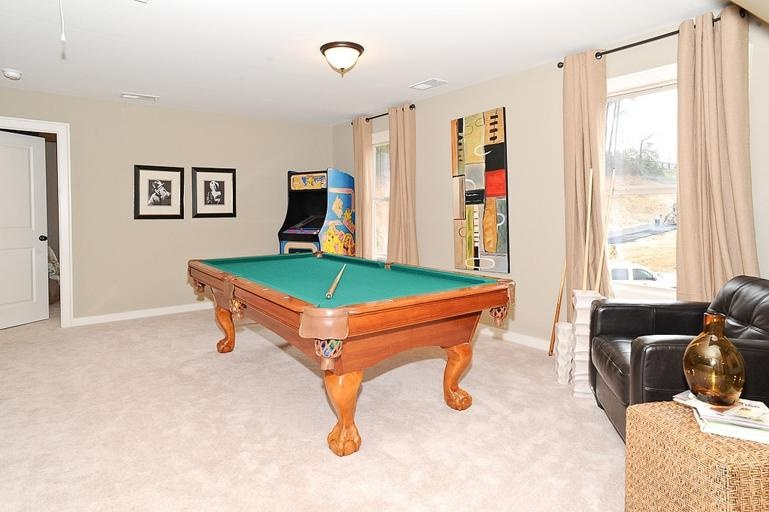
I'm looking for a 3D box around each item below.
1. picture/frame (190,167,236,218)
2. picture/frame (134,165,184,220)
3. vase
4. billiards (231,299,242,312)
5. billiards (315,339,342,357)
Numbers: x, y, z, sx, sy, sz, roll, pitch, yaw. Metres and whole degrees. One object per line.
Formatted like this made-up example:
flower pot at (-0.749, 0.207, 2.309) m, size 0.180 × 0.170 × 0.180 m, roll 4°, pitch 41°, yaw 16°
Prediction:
picture/frame at (-2.236, -0.855, 6.739) m, size 0.730 × 0.626 × 0.053 m, roll -3°, pitch 12°, yaw -37°
picture/frame at (-3.028, -0.853, 6.600) m, size 0.761 × 0.851 × 0.070 m, roll -5°, pitch 8°, yaw -37°
vase at (1.858, 0.597, 2.866) m, size 0.337 × 0.508 × 0.305 m, roll 7°, pitch 16°, yaw 23°
billiards at (-1.193, 0.407, 4.000) m, size 0.085 × 0.101 × 0.034 m, roll 10°, pitch 19°, yaw 8°
billiards at (-0.362, 0.599, 3.276) m, size 0.141 × 0.099 × 0.129 m, roll -1°, pitch 0°, yaw -16°
